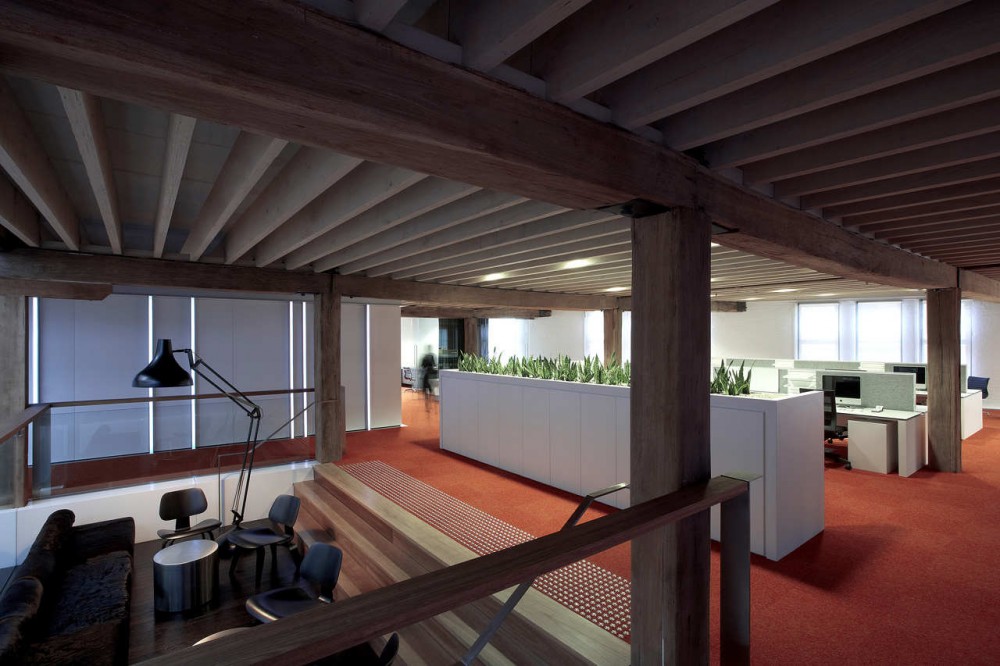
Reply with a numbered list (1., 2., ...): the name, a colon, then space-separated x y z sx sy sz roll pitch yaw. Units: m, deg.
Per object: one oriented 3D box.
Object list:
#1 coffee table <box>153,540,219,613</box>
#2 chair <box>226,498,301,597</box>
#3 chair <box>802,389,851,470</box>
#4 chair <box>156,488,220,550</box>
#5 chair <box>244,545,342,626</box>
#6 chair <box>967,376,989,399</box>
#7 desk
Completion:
1. coffee table: -2.438 1.876 4.610 0.406 0.410 0.430 5 9 16
2. chair: -2.010 1.850 5.053 0.612 0.816 0.620 -6 -12 38
3. chair: 3.963 1.108 7.047 0.462 0.695 0.458 16 -8 -20
4. chair: -2.665 1.671 5.083 0.472 0.568 0.442 -1 2 -32
5. chair: -1.402 1.656 3.988 0.564 0.427 0.506 -5 10 -30
6. chair: 7.619 0.870 9.471 0.291 0.414 0.258 14 -18 -35
7. desk: 4.480 1.223 7.001 0.876 0.671 0.892 7 11 39
